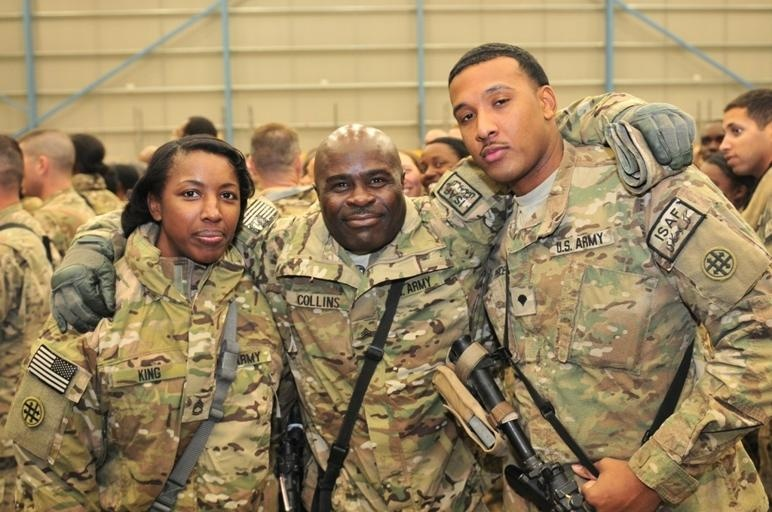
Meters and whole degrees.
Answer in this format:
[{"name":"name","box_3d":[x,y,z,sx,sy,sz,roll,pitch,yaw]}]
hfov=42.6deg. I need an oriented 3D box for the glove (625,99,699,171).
[{"name":"glove","box_3d":[1.885,-0.840,6.702,0.457,0.504,0.202,4,-24,-17]}]
